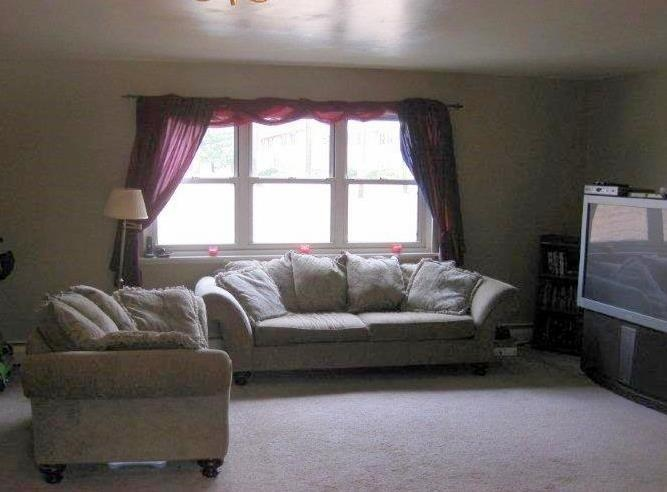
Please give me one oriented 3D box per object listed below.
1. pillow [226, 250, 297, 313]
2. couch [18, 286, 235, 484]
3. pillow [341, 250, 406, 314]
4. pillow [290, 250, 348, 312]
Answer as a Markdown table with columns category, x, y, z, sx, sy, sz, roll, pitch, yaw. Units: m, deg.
| category | x | y | z | sx | sy | sz | roll | pitch | yaw |
| --- | --- | --- | --- | --- | --- | --- | --- | --- | --- |
| pillow | -0.567 | 0.369 | 5.991 | 0.533 | 0.560 | 0.163 | -3 | -16 | -27 |
| couch | -1.372 | 0.887 | 4.298 | 1.242 | 1.082 | 1.737 | 0 | 6 | -13 |
| pillow | 0.396 | 0.383 | 5.958 | 0.564 | 0.574 | 0.215 | 1 | -33 | -11 |
| pillow | -0.147 | 0.372 | 5.914 | 0.510 | 0.624 | 0.265 | -2 | -33 | -25 |
